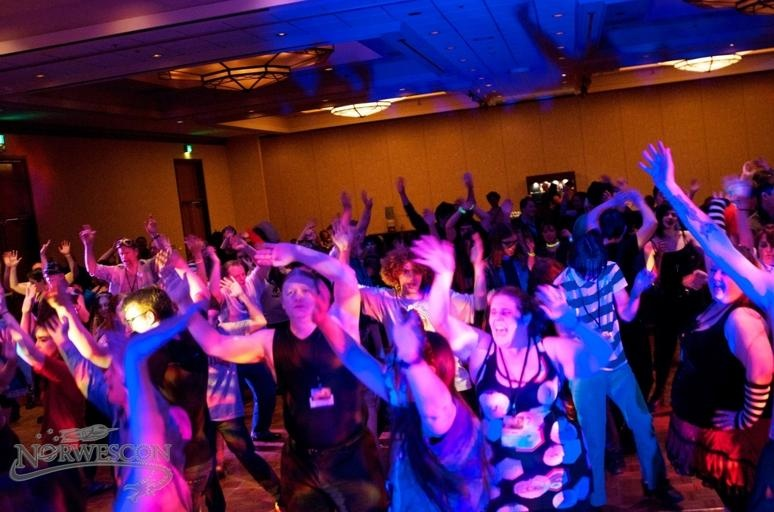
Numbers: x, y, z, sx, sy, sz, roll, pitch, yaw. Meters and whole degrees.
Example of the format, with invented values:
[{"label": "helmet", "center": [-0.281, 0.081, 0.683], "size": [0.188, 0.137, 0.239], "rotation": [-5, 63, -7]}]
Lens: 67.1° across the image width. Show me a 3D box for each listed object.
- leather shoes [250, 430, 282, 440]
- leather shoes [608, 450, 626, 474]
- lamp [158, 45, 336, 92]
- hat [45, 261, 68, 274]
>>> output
[{"label": "leather shoes", "center": [-1.260, 1.878, 6.121], "size": [0.319, 0.137, 0.110], "rotation": [2, 0, -4]}, {"label": "leather shoes", "center": [1.933, 1.726, 4.928], "size": [0.163, 0.123, 0.164], "rotation": [-4, 6, 4]}, {"label": "lamp", "center": [-2.192, -2.933, 9.418], "size": [3.033, 0.438, 1.175], "rotation": [-3, 6, 16]}, {"label": "hat", "center": [-4.061, 0.137, 7.146], "size": [0.168, 0.117, 0.223], "rotation": [-1, 7, 12]}]
